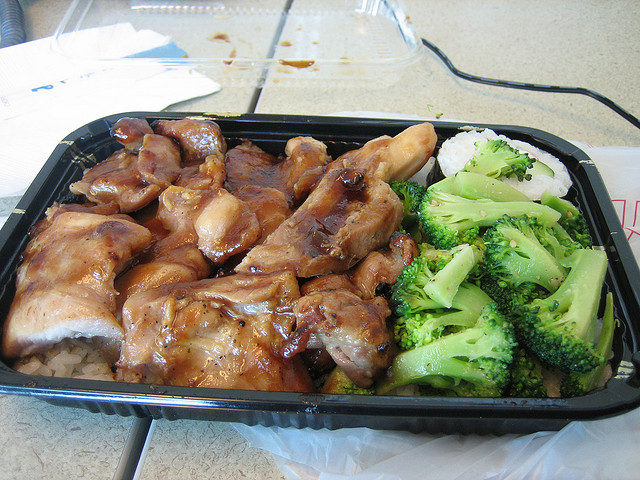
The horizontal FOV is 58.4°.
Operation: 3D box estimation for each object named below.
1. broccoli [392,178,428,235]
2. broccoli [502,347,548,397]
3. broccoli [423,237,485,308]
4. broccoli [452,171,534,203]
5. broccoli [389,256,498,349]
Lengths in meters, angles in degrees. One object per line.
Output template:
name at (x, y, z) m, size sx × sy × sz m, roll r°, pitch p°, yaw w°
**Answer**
broccoli at (0.460, -0.210, 3.083) m, size 0.180 × 0.188 × 0.199 m, roll 9°, pitch 88°, yaw -31°
broccoli at (0.932, 0.561, 2.609) m, size 0.164 × 0.103 × 0.049 m, roll 44°, pitch 33°, yaw 9°
broccoli at (0.637, 0.159, 2.692) m, size 0.176 × 0.116 × 0.352 m, roll 31°, pitch 64°, yaw 27°
broccoli at (0.838, -0.256, 3.004) m, size 0.534 × 0.115 × 0.124 m, roll 11°, pitch 92°, yaw -6°
broccoli at (0.572, 0.214, 2.730) m, size 0.321 × 0.099 × 0.280 m, roll 37°, pitch 36°, yaw 28°
